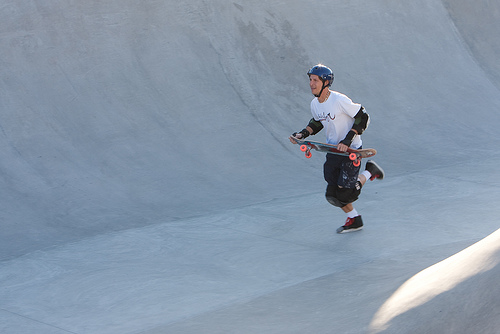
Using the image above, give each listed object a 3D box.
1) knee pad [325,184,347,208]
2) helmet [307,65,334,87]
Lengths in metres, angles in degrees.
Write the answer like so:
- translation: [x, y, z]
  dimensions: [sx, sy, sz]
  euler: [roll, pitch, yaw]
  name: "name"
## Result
- translation: [1.093, 0.361, 5.789]
  dimensions: [0.230, 0.242, 0.291]
  euler: [-11, -39, 13]
  name: "knee pad"
- translation: [0.877, -1.121, 5.559]
  dimensions: [0.368, 0.254, 0.227]
  euler: [10, -82, -4]
  name: "helmet"
